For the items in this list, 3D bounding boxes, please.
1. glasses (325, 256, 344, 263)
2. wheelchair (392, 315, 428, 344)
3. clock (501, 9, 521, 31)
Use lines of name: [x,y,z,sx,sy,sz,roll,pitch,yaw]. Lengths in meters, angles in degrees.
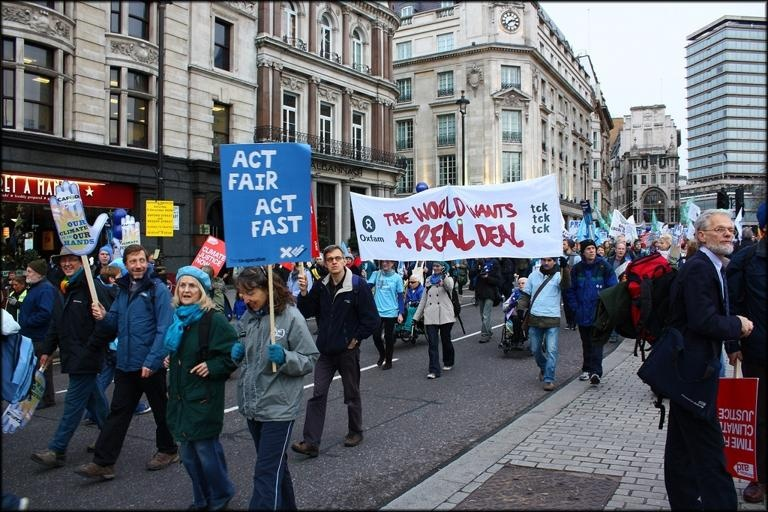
glasses: [-0.758,0.058,11.451,0.294,0.091,0.176,-3,2,-6]
wheelchair: [0.667,1.869,18.504,0.694,0.839,0.805,-1,11,26]
clock: [9.376,-17.427,54.413,1.895,1.951,0.152,2,-23,-2]
